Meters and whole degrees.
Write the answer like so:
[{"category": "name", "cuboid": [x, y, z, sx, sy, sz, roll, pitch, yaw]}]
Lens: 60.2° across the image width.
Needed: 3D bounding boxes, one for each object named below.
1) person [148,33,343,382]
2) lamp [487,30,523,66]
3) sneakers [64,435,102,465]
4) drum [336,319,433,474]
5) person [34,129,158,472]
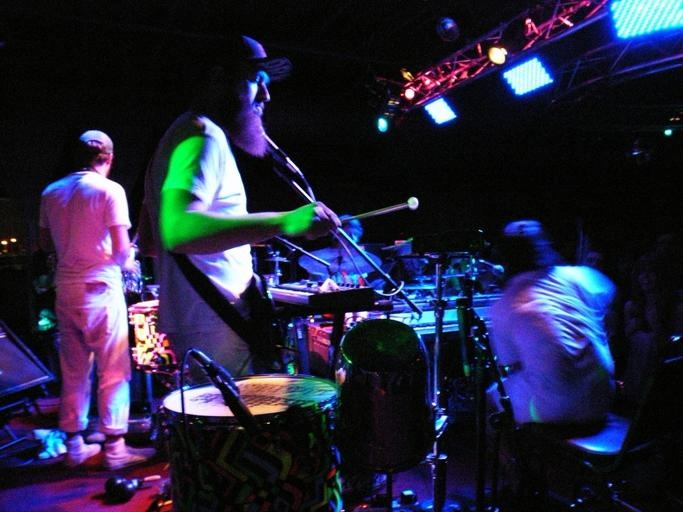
[{"category": "person", "cuboid": [-0.613, -0.266, 3.360, 0.943, 1.923, 0.686, -4, 15, -18]}, {"category": "lamp", "cuboid": [1.990, -2.509, 7.142, 0.242, 0.434, 0.173, 36, -26, 27]}, {"category": "sneakers", "cuboid": [-2.268, 1.663, 5.170, 0.132, 0.257, 0.401, -2, -3, 20]}, {"category": "drum", "cuboid": [0.249, 0.855, 3.649, 0.739, 0.940, 0.775, -1, -11, 0]}, {"category": "person", "cuboid": [-2.126, 0.379, 5.058, 0.723, 2.806, 1.066, -6, 16, -24]}]
